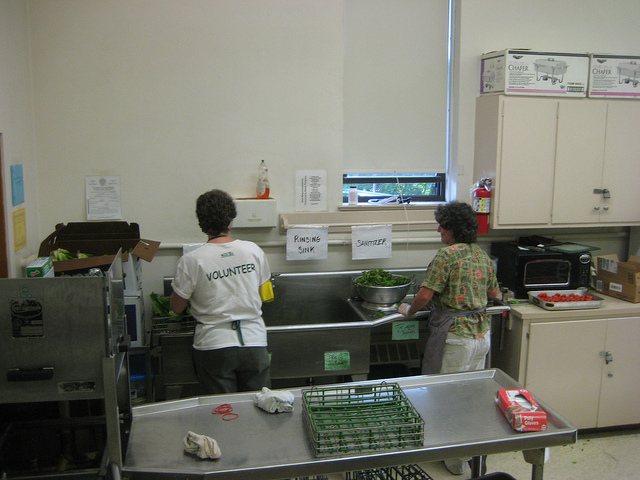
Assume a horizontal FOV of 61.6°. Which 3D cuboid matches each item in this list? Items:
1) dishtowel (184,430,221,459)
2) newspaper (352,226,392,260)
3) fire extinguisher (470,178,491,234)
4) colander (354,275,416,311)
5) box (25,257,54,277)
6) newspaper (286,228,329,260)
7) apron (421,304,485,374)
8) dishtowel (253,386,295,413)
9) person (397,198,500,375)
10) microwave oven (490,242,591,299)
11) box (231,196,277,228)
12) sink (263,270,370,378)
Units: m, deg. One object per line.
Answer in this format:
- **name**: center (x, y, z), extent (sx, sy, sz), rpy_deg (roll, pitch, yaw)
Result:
- **dishtowel**: center (-0.503, 0.883, 2.312), extent (0.126, 0.047, 0.094), rpy_deg (14, 19, -18)
- **newspaper**: center (0.397, 0.016, 4.279), extent (0.270, 0.193, 0.035), rpy_deg (-5, 19, -11)
- **fire extinguisher**: center (1.287, -0.273, 4.312), extent (0.133, 0.439, 0.225), rpy_deg (-1, 12, 6)
- **colander**: center (0.460, 0.387, 3.984), extent (0.481, 0.227, 0.402), rpy_deg (0, 3, 17)
- **box**: center (-1.693, 0.171, 3.248), extent (0.062, 0.091, 0.110), rpy_deg (0, 16, -7)
- **newspaper**: center (-0.102, 0.031, 4.198), extent (0.388, 0.269, 0.025), rpy_deg (-1, -1, -33)
- **apron**: center (0.847, 0.683, 3.525), extent (0.357, 0.480, 0.199), rpy_deg (1, 12, 16)
- **dishtowel**: center (-0.211, 0.772, 2.591), extent (0.119, 0.038, 0.115), rpy_deg (4, 2, -35)
- **person**: center (0.896, 0.358, 3.561), extent (0.627, 1.210, 0.370), rpy_deg (-7, 13, -23)
- **microwave oven**: center (1.738, 0.238, 4.160), extent (0.625, 0.346, 0.435), rpy_deg (-2, 7, -11)
- **box**: center (-0.471, -0.206, 4.186), extent (0.429, 0.241, 0.254), rpy_deg (1, 1, 12)
- **sink**: center (-0.019, 0.605, 3.938), extent (0.787, 0.579, 0.716), rpy_deg (-4, 11, -6)
